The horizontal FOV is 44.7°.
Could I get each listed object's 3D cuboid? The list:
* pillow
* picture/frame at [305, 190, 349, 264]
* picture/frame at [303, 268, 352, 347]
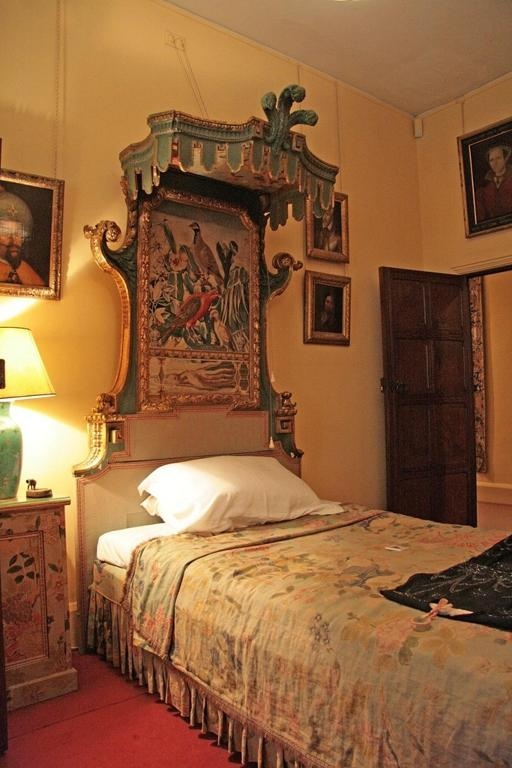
[{"bbox_3d":[-0.106,0.598,3.350,0.626,0.154,0.572,3,6,-28],"label":"pillow"},{"bbox_3d":[0.531,-1.200,4.799,0.042,0.608,0.596,-5,-10,42],"label":"picture/frame"},{"bbox_3d":[0.557,-0.612,5.035,0.634,0.644,0.048,4,-6,-42],"label":"picture/frame"}]
